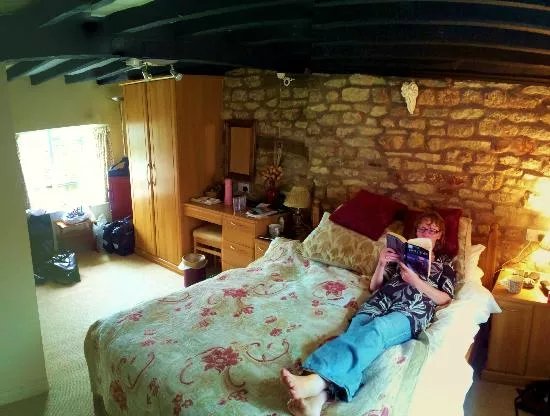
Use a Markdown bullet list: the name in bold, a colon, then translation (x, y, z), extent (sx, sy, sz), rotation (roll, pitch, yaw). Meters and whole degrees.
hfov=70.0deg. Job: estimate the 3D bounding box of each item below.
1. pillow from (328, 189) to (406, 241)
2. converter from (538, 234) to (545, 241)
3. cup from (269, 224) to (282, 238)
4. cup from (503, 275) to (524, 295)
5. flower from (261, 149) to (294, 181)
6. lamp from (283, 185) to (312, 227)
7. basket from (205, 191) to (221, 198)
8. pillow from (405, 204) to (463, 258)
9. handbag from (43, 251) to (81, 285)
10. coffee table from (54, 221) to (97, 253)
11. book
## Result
- **pillow**: translation (0.867, 0.037, 3.612), extent (0.510, 0.160, 0.486), rotation (22, 50, 42)
- **converter**: translation (2.283, 0.257, 3.385), extent (0.012, 0.046, 0.051), rotation (15, -7, -38)
- **cup**: translation (-0.003, 0.254, 4.289), extent (0.140, 0.108, 0.146), rotation (0, -1, 0)
- **cup**: translation (1.993, 0.632, 3.277), extent (0.129, 0.134, 0.176), rotation (6, 14, 31)
- **flower**: translation (-0.021, -0.481, 4.683), extent (0.371, 0.355, 0.182), rotation (9, 16, 40)
- **lamp**: translation (0.261, -0.008, 4.392), extent (0.329, 0.458, 0.327), rotation (-19, 30, -40)
- **basket**: translation (-0.811, -0.168, 5.061), extent (0.156, 0.062, 0.098), rotation (1, 1, 10)
- **pillow**: translation (1.353, 0.149, 3.256), extent (0.457, 0.438, 0.141), rotation (1, -24, 43)
- **handbag**: translation (-2.669, 0.775, 4.901), extent (0.375, 0.277, 0.521), rotation (-9, 14, -32)
- **coffee table**: translation (-2.853, 0.408, 5.655), extent (0.360, 0.468, 0.535), rotation (24, 19, 34)
- **book**: translation (1.002, 0.380, 2.937), extent (0.049, 0.325, 0.363), rotation (-18, 25, -37)
